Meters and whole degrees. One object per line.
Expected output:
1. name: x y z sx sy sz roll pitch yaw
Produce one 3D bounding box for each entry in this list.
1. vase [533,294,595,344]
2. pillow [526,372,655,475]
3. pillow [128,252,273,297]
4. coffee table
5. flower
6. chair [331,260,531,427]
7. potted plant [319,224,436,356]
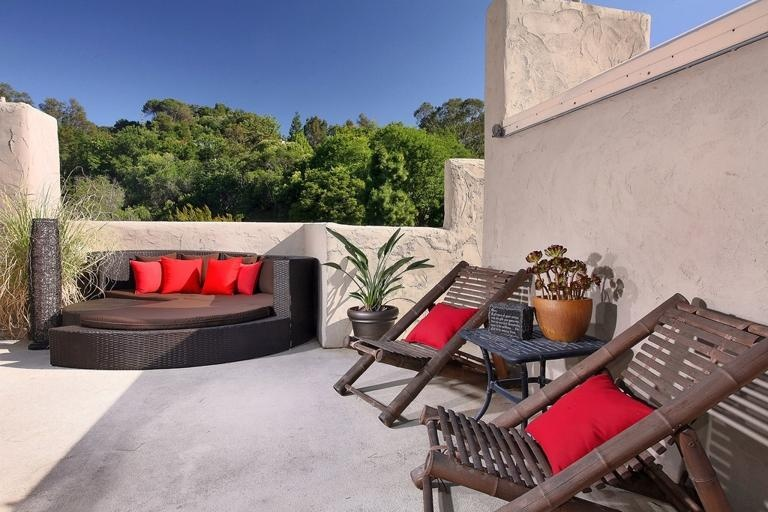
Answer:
1. vase: 1.263 0.421 3.177 0.419 0.293 0.425 -3 1 17
2. pillow: 1.026 0.809 2.440 0.528 0.423 0.614 0 2 -5
3. pillow: -2.257 0.228 5.374 1.517 0.447 0.601 4 4 -18
4. coffee table: 0.902 0.666 3.067 0.762 0.594 0.747 -1 -3 -33
5. flower: 1.283 0.110 3.198 0.381 0.398 0.451 -1 5 -36
6. chair: 0.373 0.634 3.879 1.115 1.271 1.330 2 3 -25
7. potted plant: -0.081 0.263 4.971 0.761 1.368 0.904 1 6 -34
